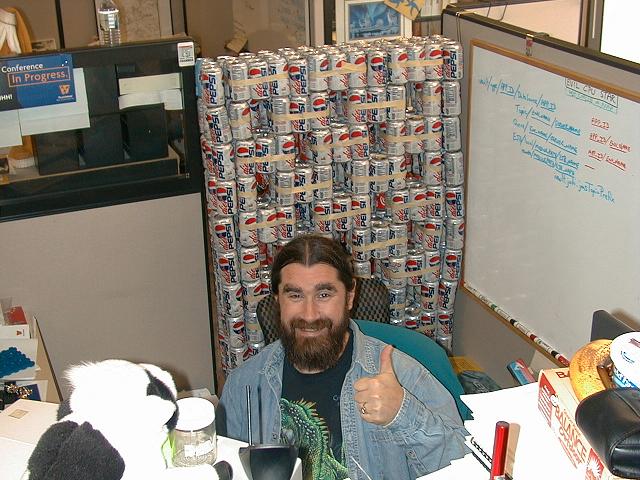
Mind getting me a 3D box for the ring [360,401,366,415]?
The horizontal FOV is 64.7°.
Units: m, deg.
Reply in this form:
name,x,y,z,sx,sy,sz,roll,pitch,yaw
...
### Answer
name,x,y,z,sx,sy,sz,roll,pitch,yaw
ring,0.129,0.525,1.551,0.013,0.030,0.023,-9,-2,-2
